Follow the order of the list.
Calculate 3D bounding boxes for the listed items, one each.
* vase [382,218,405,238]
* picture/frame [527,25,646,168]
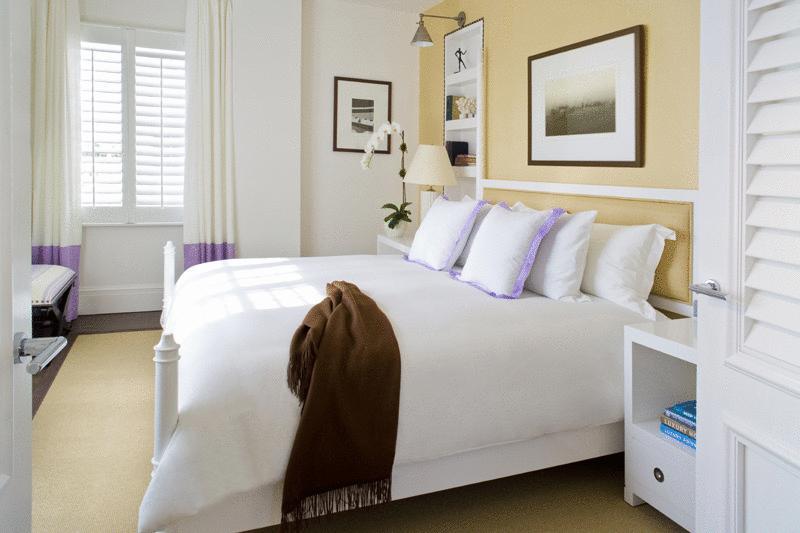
[{"bbox_3d":[-0.054,-0.354,5.225,0.171,0.145,0.171,1,4,5],"label":"vase"},{"bbox_3d":[1.234,-1.082,3.651,0.070,0.854,0.945,-7,16,-30],"label":"picture/frame"}]
